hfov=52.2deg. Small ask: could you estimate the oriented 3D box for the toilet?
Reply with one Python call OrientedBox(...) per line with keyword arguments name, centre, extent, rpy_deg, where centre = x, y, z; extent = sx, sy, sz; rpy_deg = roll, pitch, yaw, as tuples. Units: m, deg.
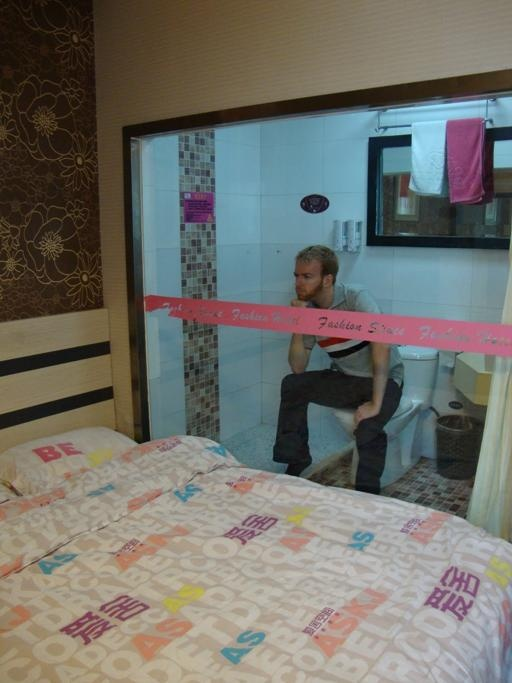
OrientedBox(name="toilet", centre=(0.401, 0.262, 1.912), extent=(0.459, 0.443, 0.304), rpy_deg=(-12, 14, -42))
